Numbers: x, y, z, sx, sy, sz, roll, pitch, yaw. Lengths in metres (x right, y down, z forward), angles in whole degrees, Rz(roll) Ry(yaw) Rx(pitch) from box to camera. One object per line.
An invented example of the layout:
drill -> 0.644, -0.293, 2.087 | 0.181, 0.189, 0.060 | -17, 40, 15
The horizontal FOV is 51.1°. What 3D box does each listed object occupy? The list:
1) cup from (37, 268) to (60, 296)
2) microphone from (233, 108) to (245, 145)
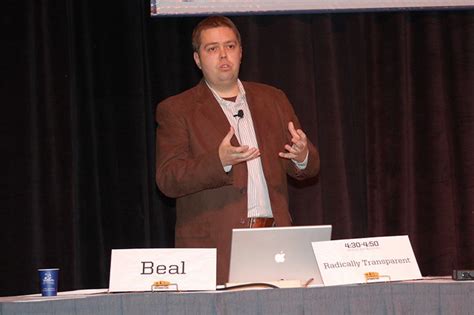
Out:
cup -> -0.992, 0.655, 2.614 | 0.118, 0.143, 0.124 | -2, -7, 0
microphone -> 0.016, -0.203, 3.247 | 0.058, 0.208, 0.026 | -5, 12, -35
